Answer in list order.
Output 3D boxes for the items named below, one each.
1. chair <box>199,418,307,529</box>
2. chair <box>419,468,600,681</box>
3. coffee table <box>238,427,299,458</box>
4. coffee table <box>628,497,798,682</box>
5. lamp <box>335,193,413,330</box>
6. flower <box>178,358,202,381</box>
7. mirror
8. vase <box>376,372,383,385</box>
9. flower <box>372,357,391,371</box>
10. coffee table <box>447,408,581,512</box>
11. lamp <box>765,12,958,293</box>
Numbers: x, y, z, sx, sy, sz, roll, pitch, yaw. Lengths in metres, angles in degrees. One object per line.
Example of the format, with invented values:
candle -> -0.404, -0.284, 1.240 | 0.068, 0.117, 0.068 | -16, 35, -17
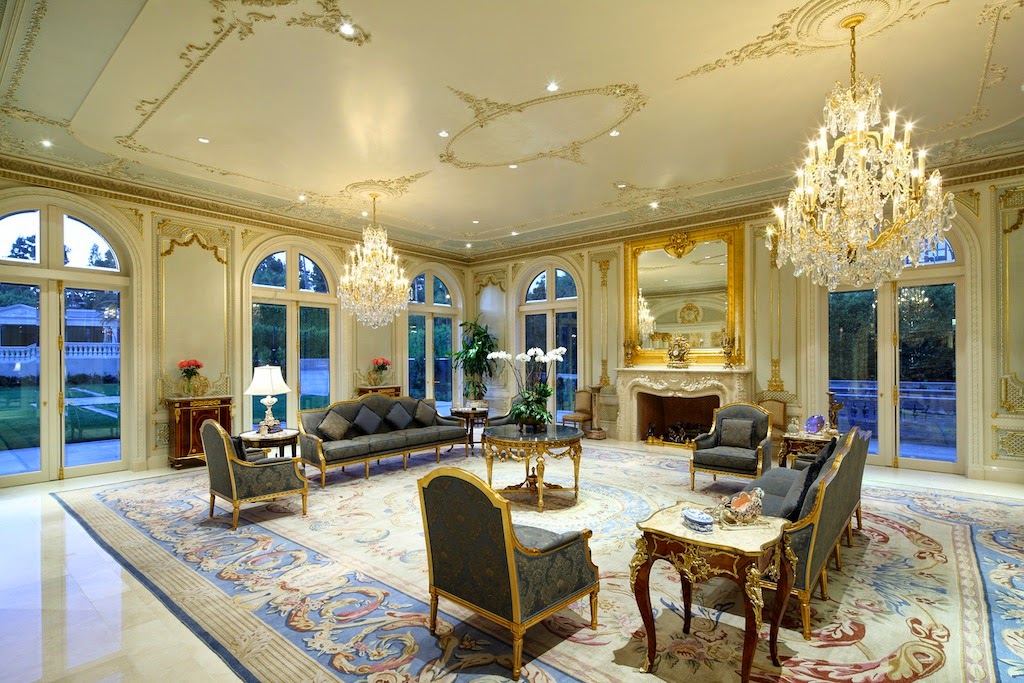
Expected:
chair -> -3.410, 1.614, 7.997 | 1.313, 1.616, 1.200 | 1, -2, -43
chair -> -0.021, 1.847, 5.095 | 1.481, 1.625, 0.802 | -2, 13, -9
coffee table -> -3.397, 1.336, 8.438 | 0.561, 0.572, 0.553 | 1, 2, -25
coffee table -> 1.882, 2.238, 5.535 | 1.281, 1.619, 1.432 | -2, -3, 29
lamp -> -2.176, -1.285, 9.597 | 0.877, 1.539, 0.849 | 0, 18, -9
flower -> -5.123, 0.432, 9.556 | 0.327, 0.331, 0.334 | 1, 3, -11
mirror -> 3.256, -0.870, 11.014 | 2.668, 3.041, 0.134 | -2, -3, 30
vase -> -2.648, 0.700, 11.963 | 0.189, 0.221, 0.104 | -7, 14, -26
flower -> -2.622, 0.425, 12.005 | 0.261, 0.256, 0.263 | -6, -5, 32
coffee table -> 0.220, 1.563, 8.184 | 1.131, 0.810, 1.194 | -3, -5, 37
lamp -> 4.144, -2.037, 7.056 | 1.547, 2.676, 2.815 | 7, 14, 31
